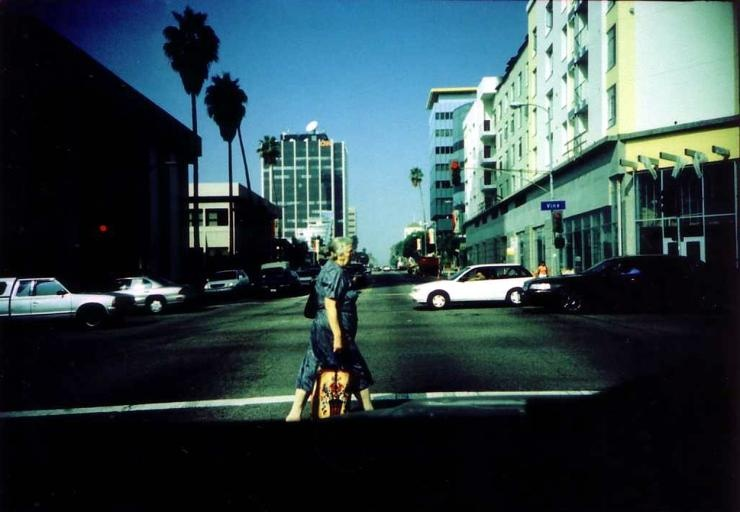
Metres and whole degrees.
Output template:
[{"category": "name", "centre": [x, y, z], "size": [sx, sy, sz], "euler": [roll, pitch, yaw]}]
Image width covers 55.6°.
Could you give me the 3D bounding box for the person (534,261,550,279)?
[{"category": "person", "centre": [8.234, 0.673, 33.516], "size": [0.592, 1.207, 0.332], "euler": [-7, -21, 20]}]

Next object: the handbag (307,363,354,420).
[{"category": "handbag", "centre": [-0.547, 2.157, 11.117], "size": [0.673, 1.150, 0.628], "euler": [2, -10, -4]}]
